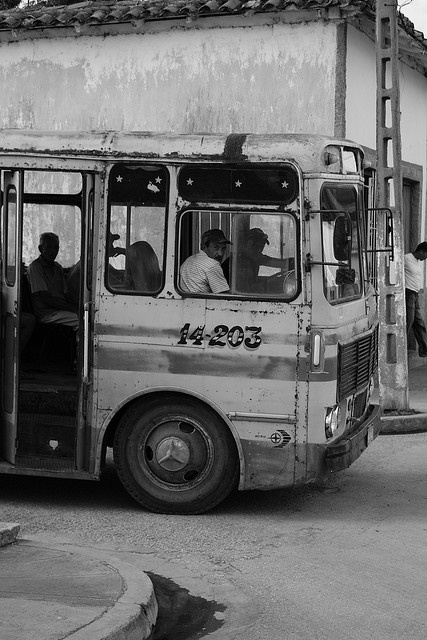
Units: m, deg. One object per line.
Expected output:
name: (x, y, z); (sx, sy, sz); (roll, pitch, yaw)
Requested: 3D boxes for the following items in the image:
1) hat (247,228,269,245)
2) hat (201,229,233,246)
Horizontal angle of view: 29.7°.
hat: (0.283, -0.558, 5.266); (0.115, 0.070, 0.091); (13, 5, 2)
hat: (0.006, -0.557, 5.350); (0.132, 0.082, 0.100); (-3, -1, 22)
